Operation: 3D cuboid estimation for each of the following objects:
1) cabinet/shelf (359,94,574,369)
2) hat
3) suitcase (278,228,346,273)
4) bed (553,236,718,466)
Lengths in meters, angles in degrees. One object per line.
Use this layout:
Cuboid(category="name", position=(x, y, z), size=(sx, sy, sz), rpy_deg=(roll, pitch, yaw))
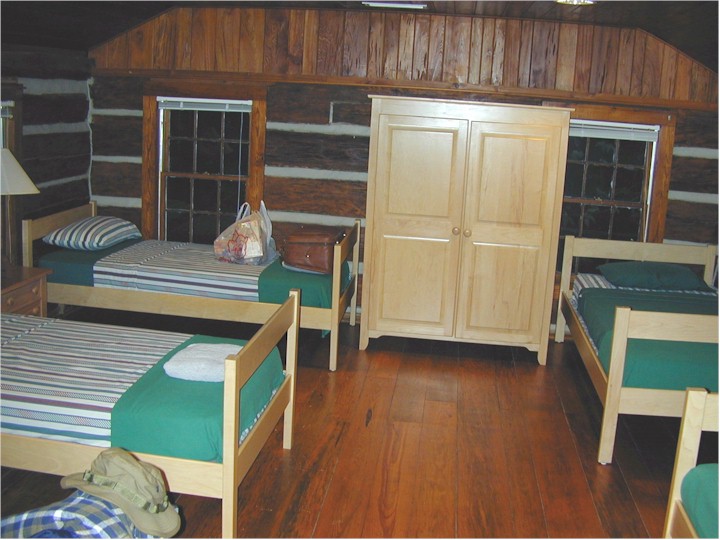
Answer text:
Cuboid(category="cabinet/shelf", position=(0.921, -0.317, 5.348), size=(2.229, 2.891, 1.016), rpy_deg=(3, 9, 2))
Cuboid(category="hat", position=(-1.112, 1.069, 2.978), size=(0.467, 0.208, 0.460), rpy_deg=(36, -6, -22))
Cuboid(category="suitcase", position=(-0.450, -0.160, 5.335), size=(0.508, 0.313, 0.375), rpy_deg=(2, 10, -3))
Cuboid(category="bed", position=(2.301, 0.470, 4.806), size=(1.147, 1.060, 2.035), rpy_deg=(1, 13, 10))
